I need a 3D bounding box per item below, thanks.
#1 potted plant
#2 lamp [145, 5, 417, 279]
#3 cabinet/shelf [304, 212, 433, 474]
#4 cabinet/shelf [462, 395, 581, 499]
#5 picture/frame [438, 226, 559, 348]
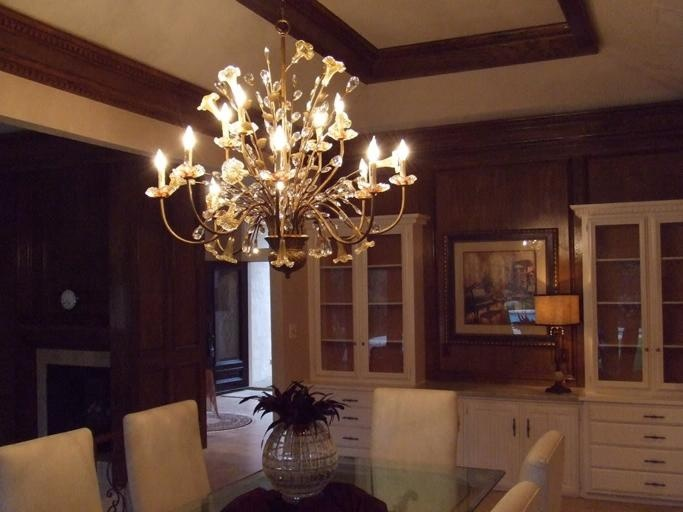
[{"bbox_3d":[-0.202,0.865,2.533,0.402,0.542,0.274,-1,-4,-12],"label":"potted plant"},{"bbox_3d":[-0.426,-0.832,3.741,1.402,1.877,1.516,0,-9,-2],"label":"lamp"},{"bbox_3d":[0.195,0.859,5.284,0.993,2.376,0.432,2,-8,12],"label":"cabinet/shelf"},{"bbox_3d":[1.590,1.675,4.845,0.998,0.861,0.395,0,-2,16],"label":"cabinet/shelf"},{"bbox_3d":[1.521,0.307,5.103,1.012,1.227,0.096,-1,-3,28],"label":"picture/frame"}]
